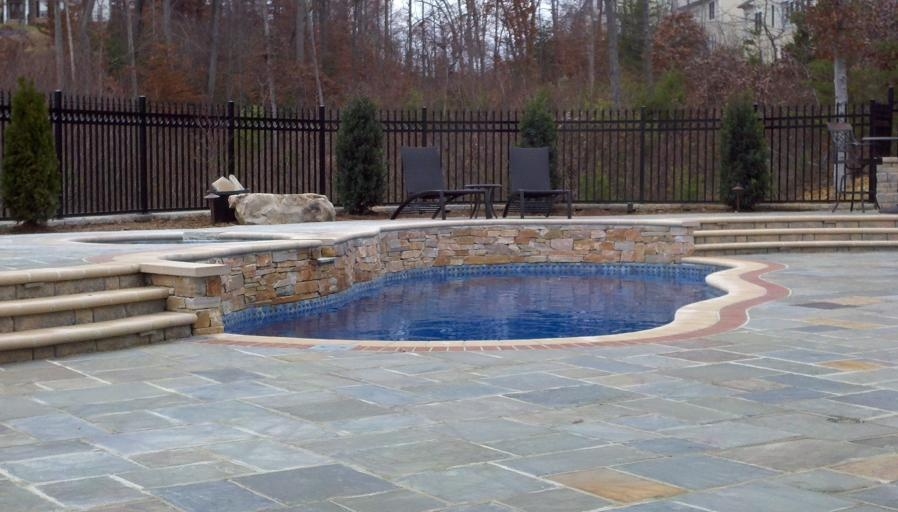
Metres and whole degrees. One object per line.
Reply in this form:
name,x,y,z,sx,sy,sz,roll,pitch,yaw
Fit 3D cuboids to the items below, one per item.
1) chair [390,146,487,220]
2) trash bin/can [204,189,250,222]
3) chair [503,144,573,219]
chair,-0.216,-1.360,16.348,1.527,1.437,2.707,-1,9,-3
trash bin/can,-4.164,-0.923,15.642,0.896,0.528,0.688,-1,-1,-24
chair,1.586,-1.416,16.436,0.956,1.341,1.398,0,9,4
